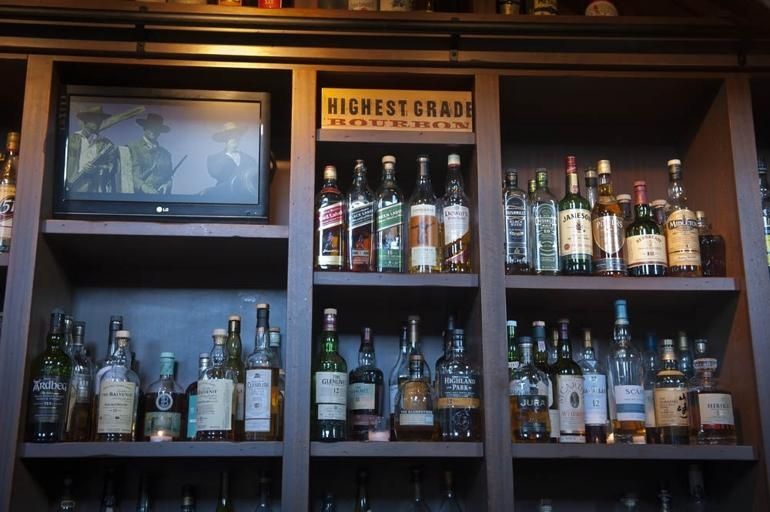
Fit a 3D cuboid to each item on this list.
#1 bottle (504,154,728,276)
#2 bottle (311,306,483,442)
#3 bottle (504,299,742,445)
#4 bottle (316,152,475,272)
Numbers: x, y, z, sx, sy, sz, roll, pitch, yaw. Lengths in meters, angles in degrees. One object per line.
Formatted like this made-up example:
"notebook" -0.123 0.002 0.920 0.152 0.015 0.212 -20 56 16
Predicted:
"bottle" 0.787 -0.122 2.579 0.443 0.335 0.120 3 -16 1
"bottle" 0.037 0.399 2.487 0.451 0.396 0.118 1 -23 -4
"bottle" 0.788 0.394 2.491 0.441 0.401 0.139 6 -19 -13
"bottle" 0.039 -0.134 2.517 0.425 0.369 0.097 0 -6 3
